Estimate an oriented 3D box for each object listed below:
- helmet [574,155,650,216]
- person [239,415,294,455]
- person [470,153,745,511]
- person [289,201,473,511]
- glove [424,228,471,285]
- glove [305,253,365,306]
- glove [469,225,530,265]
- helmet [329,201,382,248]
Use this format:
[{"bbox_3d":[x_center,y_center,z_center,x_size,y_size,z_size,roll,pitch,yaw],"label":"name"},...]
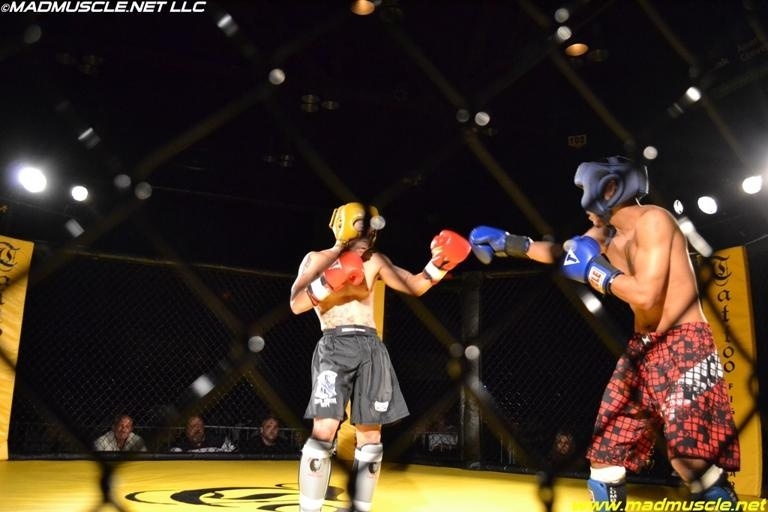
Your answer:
[{"bbox_3d":[1.696,-0.549,5.102,0.501,0.405,0.429,2,-8,14],"label":"helmet"},{"bbox_3d":[-1.479,2.294,8.735,0.799,0.476,0.341,9,-12,-29],"label":"person"},{"bbox_3d":[1.900,0.521,4.997,0.983,2.430,1.077,-10,-28,25],"label":"person"},{"bbox_3d":[-0.182,0.796,5.586,1.251,2.420,0.814,7,-26,-9],"label":"person"},{"bbox_3d":[0.510,0.017,5.890,0.450,0.367,0.195,-37,-33,20],"label":"glove"},{"bbox_3d":[-0.407,0.200,5.615,0.377,0.465,0.190,45,-8,-15],"label":"glove"},{"bbox_3d":[0.956,-0.092,5.652,0.413,0.296,0.188,3,-32,32],"label":"glove"},{"bbox_3d":[-0.258,-0.265,5.818,0.323,0.297,0.406,5,-7,-34],"label":"helmet"}]
